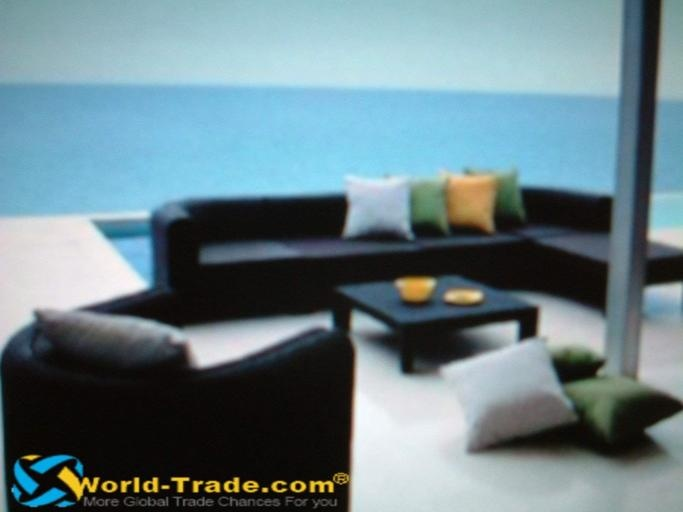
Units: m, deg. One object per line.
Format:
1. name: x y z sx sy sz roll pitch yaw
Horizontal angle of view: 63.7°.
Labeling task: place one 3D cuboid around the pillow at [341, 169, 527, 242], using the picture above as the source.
1. pillow: 0.824 -0.465 4.641 1.168 0.883 0.844 6 11 27

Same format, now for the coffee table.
1. coffee table: 0.536 0.349 3.493 1.127 0.458 1.496 -4 11 -25

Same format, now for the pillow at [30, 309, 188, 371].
1. pillow: -0.608 0.184 1.635 0.353 0.169 0.401 2 10 20
